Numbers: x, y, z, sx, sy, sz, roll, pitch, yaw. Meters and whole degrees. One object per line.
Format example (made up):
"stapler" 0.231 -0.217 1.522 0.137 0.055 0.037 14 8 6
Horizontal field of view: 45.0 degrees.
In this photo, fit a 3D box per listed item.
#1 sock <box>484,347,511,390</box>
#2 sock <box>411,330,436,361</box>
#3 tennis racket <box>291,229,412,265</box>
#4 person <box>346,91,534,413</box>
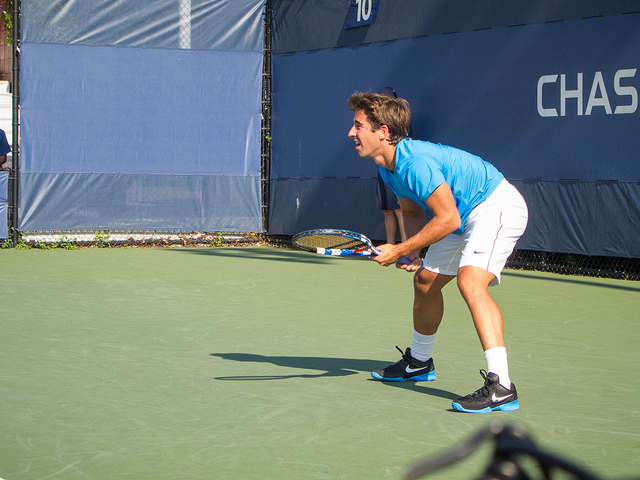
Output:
"sock" 1.011 0.726 4.397 0.162 0.242 0.100 3 3 3
"sock" 0.652 0.681 4.947 0.133 0.189 0.080 3 3 6
"tennis racket" 0.071 0.009 5.411 1.115 0.083 0.313 3 -13 13
"person" 0.713 0.066 4.589 1.028 1.809 0.678 3 3 14
